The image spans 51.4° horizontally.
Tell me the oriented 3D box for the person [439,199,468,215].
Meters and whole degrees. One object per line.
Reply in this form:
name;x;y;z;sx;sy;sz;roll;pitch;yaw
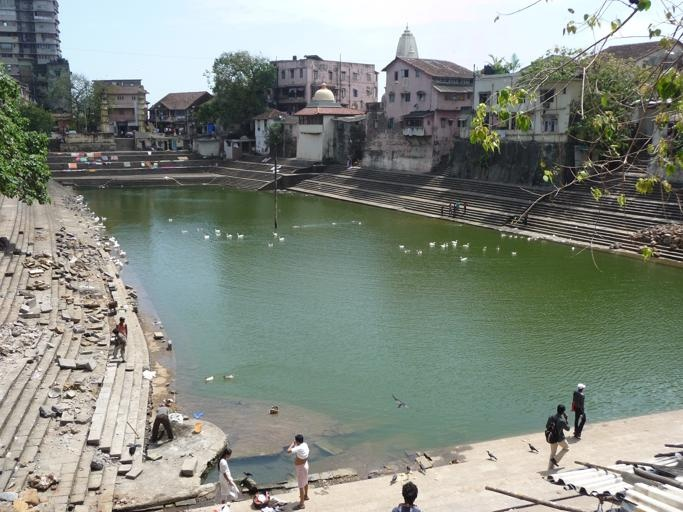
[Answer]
person;7.998;-3.269;50.142;1.330;0.522;1.316;1;-6;-11

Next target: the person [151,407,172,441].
person;-4.702;4.348;18.649;0.507;1.225;0.280;1;18;-6

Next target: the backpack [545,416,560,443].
backpack;5.264;4.328;17.632;0.320;0.668;0.324;4;15;15

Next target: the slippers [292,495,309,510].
slippers;-0.911;5.720;16.445;0.189;0.364;0.358;-4;16;-42

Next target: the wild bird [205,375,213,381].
wild bird;-4.105;3.816;22.192;0.249;0.110;0.324;-2;15;-8

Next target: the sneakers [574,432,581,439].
sneakers;6.392;4.830;19.087;0.185;0.114;0.237;1;15;3

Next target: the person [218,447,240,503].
person;-2.697;5.031;16.904;0.513;1.407;1.541;-3;15;-11

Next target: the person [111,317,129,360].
person;-7.081;2.497;22.585;0.498;1.423;1.441;-5;16;-19

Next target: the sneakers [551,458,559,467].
sneakers;5.312;5.077;17.553;0.228;0.233;0.084;-6;16;-20

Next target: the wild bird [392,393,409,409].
wild bird;1.746;4.265;21.066;0.372;0.162;0.776;-4;15;-13

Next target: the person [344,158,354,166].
person;0.556;-9.001;69.304;0.572;0.794;1.389;6;13;11

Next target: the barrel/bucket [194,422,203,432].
barrel/bucket;-3.841;4.591;19.122;0.223;0.191;0.421;-2;15;-7

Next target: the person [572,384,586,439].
person;6.474;4.095;19.274;0.368;1.450;0.987;6;16;21
